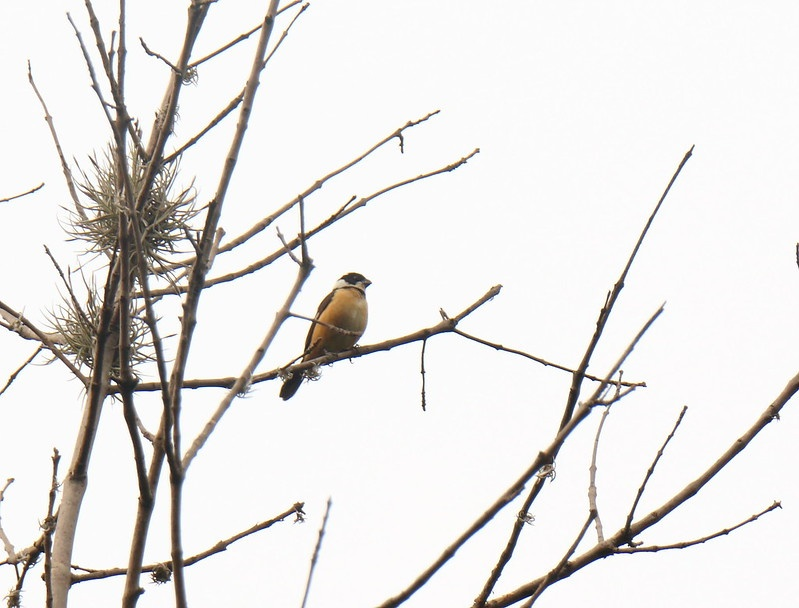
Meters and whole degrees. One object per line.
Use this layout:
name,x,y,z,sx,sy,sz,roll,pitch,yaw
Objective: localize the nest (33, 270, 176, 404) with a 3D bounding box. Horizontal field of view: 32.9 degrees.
nest,-1.189,0.067,5.640,0.380,0.512,0.329,12,-80,2
